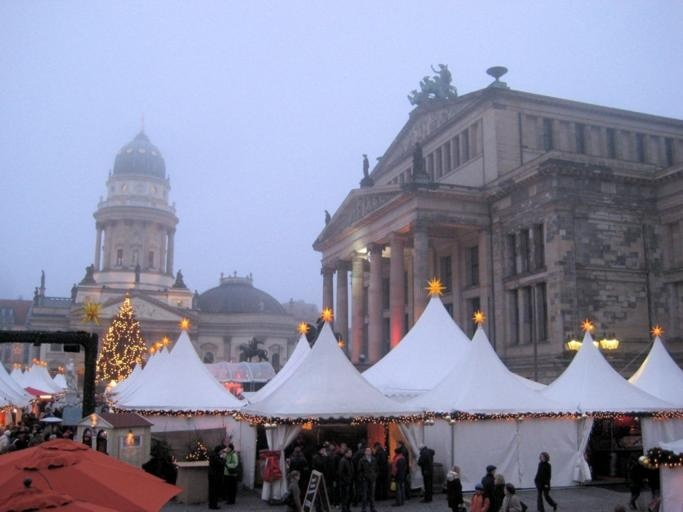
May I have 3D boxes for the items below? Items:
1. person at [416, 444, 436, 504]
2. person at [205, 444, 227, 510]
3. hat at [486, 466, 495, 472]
[{"bbox_3d":[3.484,9.019,42.132,0.580,2.248,1.028,-2,-13,12],"label":"person"},{"bbox_3d":[-5.102,8.986,41.264,0.624,2.547,1.349,2,-13,-6],"label":"person"},{"bbox_3d":[5.510,7.877,37.587,0.249,0.260,0.296,2,5,32],"label":"hat"}]
